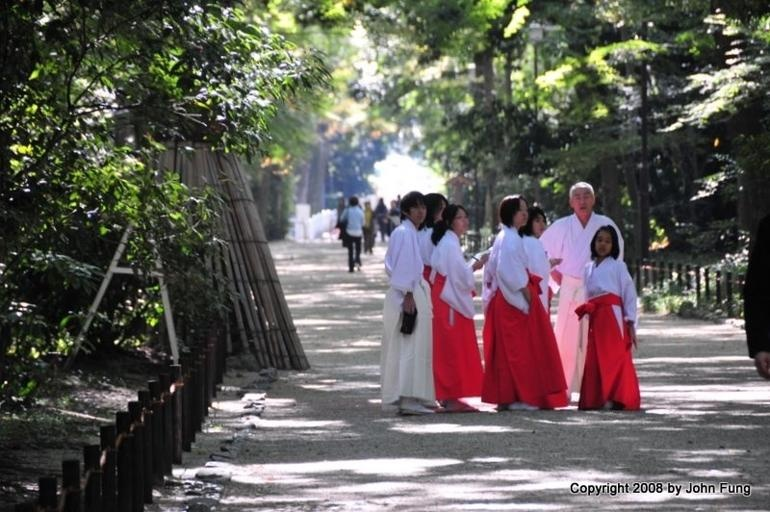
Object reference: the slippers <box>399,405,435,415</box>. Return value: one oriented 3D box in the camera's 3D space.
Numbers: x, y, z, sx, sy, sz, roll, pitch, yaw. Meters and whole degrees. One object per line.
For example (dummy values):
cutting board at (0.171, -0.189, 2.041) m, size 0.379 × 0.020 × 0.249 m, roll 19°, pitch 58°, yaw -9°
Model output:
slippers at (0.351, 1.752, 13.465) m, size 0.247 × 0.079 × 0.165 m, roll -6°, pitch -3°, yaw -8°

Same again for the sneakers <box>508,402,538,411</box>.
sneakers at (1.584, 1.723, 13.502) m, size 0.228 × 0.059 × 0.125 m, roll 8°, pitch -1°, yaw 3°
